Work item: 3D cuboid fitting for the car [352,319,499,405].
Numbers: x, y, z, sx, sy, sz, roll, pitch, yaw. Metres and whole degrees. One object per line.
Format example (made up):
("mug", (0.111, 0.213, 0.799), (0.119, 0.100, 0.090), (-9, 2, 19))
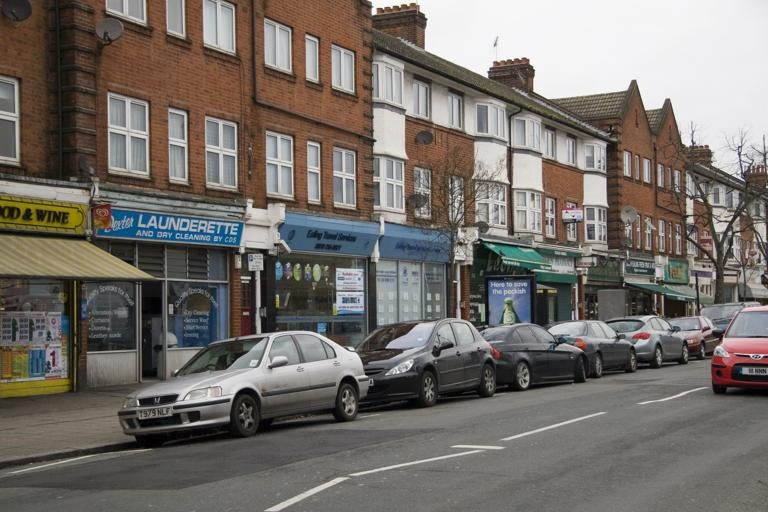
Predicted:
("car", (0.958, 2.661, 22.615), (3.925, 2.175, 1.578), (5, -10, -43))

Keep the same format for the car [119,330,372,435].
("car", (-2.628, 2.714, 18.814), (2.240, 1.630, 4.334), (-9, -11, 35))
